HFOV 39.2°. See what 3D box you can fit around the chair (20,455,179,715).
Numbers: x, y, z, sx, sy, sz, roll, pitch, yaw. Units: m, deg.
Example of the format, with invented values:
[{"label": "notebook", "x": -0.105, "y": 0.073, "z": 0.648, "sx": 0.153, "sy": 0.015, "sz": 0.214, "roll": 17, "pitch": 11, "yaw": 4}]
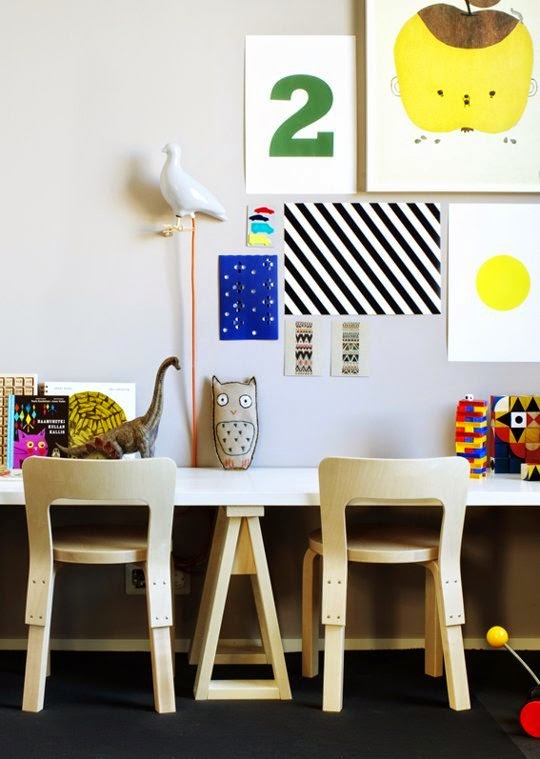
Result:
[{"label": "chair", "x": -0.424, "y": 0.391, "z": 1.966, "sx": 0.397, "sy": 0.783, "sz": 0.469, "roll": -3, "pitch": 30, "yaw": -20}]
